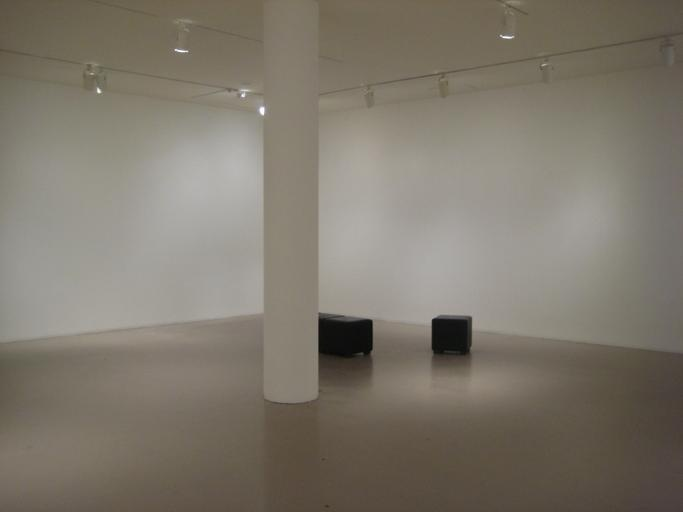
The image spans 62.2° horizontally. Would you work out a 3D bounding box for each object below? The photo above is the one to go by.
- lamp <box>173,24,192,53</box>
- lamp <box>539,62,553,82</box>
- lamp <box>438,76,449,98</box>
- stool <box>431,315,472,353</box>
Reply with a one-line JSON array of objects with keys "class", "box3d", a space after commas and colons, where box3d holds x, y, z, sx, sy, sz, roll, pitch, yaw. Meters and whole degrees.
[{"class": "lamp", "box3d": [-2.102, -2.831, 7.424, 0.161, 0.177, 0.165, 1, 8, -3]}, {"class": "lamp", "box3d": [2.991, -2.670, 8.248, 0.149, 0.318, 0.484, 2, 5, 19]}, {"class": "lamp", "box3d": [1.639, -2.724, 9.069, 0.153, 0.332, 0.336, 0, 5, 6]}, {"class": "stool", "box3d": [1.611, 1.120, 8.263, 0.512, 0.503, 0.523, 0, 2, 18]}]
